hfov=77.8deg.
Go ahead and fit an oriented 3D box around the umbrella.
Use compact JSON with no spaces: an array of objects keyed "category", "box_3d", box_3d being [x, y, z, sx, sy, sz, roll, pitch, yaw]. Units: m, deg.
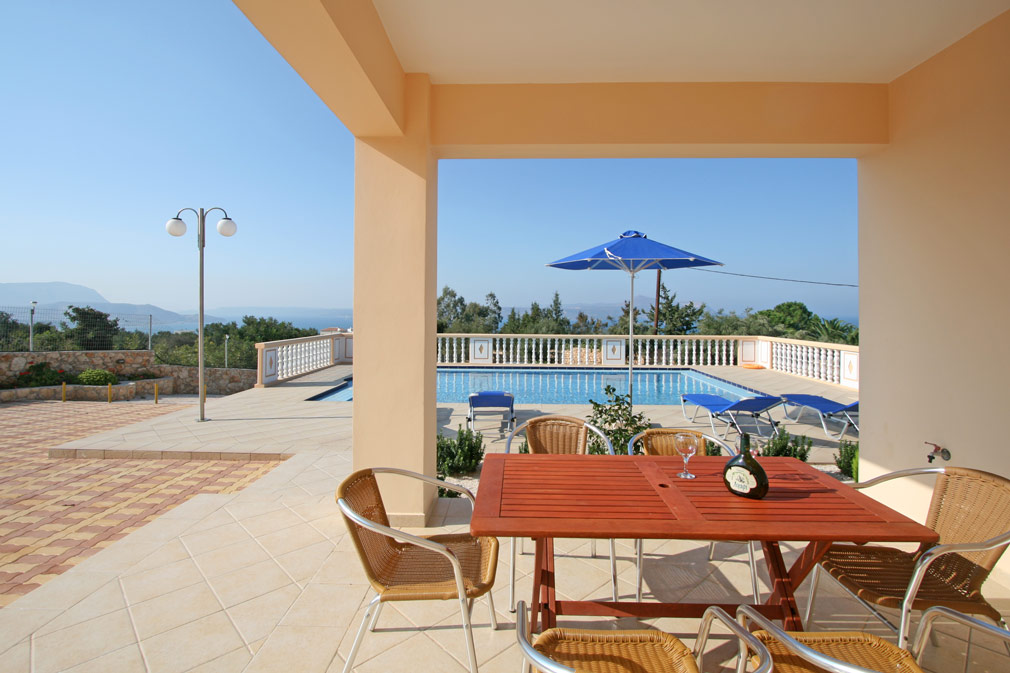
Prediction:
[{"category":"umbrella","box_3d":[1.686,-0.435,8.945,2.456,2.202,2.481,3,6,14]}]
